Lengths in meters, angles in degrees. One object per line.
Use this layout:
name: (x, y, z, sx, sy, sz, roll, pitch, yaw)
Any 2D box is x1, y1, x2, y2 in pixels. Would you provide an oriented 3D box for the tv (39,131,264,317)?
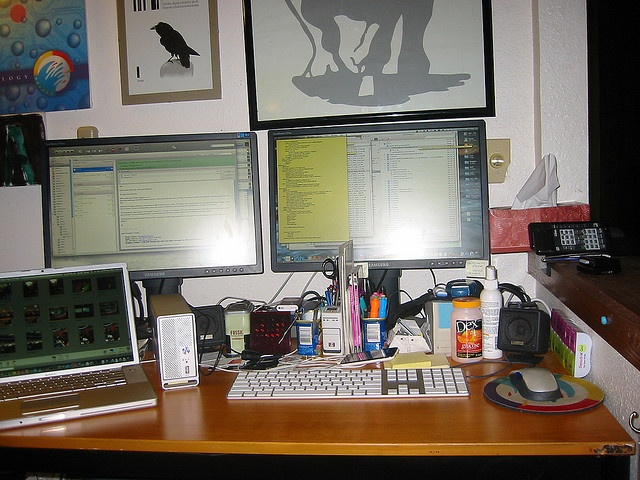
tv: (-0.566, -0.061, 1.762, 0.655, 0.561, 0.137, -1, 2, -1)

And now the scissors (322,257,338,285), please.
scissors: (0.037, 0.104, 1.778, 0.057, 0.080, 0.019, -13, 4, -13)

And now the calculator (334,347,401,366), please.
calculator: (0.143, 0.351, 1.596, 0.146, 0.015, 0.086, -9, 4, 19)

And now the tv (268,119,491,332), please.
tv: (0.202, -0.054, 1.756, 0.711, 0.675, 0.229, -1, 1, 5)

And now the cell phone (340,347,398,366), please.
cell phone: (0.149, 0.352, 1.592, 0.161, 0.017, 0.095, -9, 3, 17)

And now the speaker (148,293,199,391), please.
speaker: (-0.428, 0.305, 1.553, 0.074, 0.190, 0.211, -6, -12, -17)
